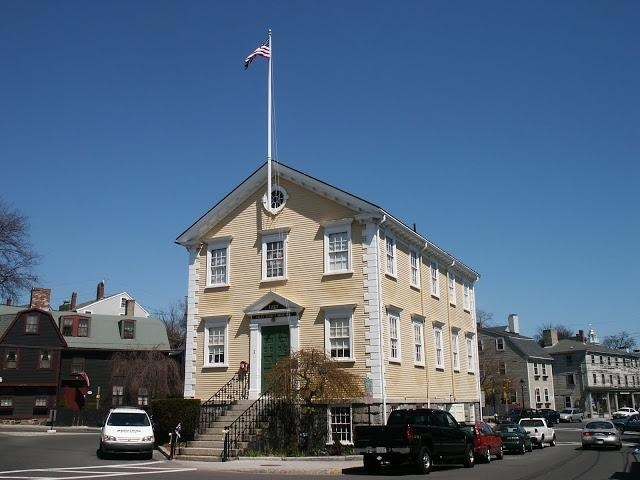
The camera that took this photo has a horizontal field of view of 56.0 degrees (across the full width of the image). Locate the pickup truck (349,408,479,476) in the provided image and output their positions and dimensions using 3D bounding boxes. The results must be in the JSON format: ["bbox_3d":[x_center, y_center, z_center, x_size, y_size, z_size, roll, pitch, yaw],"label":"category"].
[{"bbox_3d":[3.938,8.160,24.590,2.505,1.736,4.937,-11,-17,38],"label":"pickup truck"}]

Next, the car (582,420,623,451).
[{"bbox_3d":[16.613,11.585,35.731,2.026,1.573,2.015,-8,-19,21],"label":"car"}]

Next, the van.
[{"bbox_3d":[-8.769,8.659,27.202,1.601,1.375,3.238,3,-21,-12],"label":"van"}]
